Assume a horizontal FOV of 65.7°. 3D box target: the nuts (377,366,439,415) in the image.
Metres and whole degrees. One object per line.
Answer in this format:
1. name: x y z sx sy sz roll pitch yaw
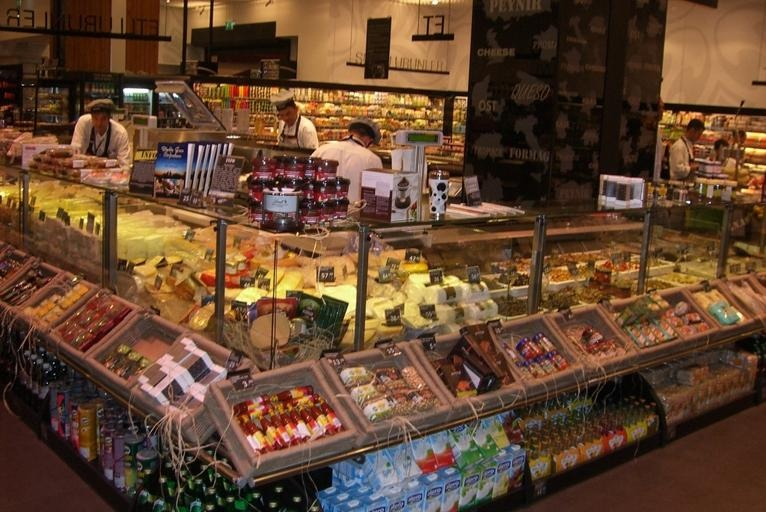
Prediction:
1. nuts: 0.142 0.739 3.305 0.309 0.147 0.262 -7 22 -16

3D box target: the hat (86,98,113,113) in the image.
1. hat: -3.071 -1.635 6.454 0.251 0.114 0.293 -5 15 -24

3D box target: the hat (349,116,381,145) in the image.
1. hat: -0.159 -1.125 5.360 0.230 0.078 0.230 22 -11 -19

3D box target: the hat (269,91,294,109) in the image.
1. hat: -1.327 -2.048 7.790 0.274 0.231 0.469 -5 22 -13
